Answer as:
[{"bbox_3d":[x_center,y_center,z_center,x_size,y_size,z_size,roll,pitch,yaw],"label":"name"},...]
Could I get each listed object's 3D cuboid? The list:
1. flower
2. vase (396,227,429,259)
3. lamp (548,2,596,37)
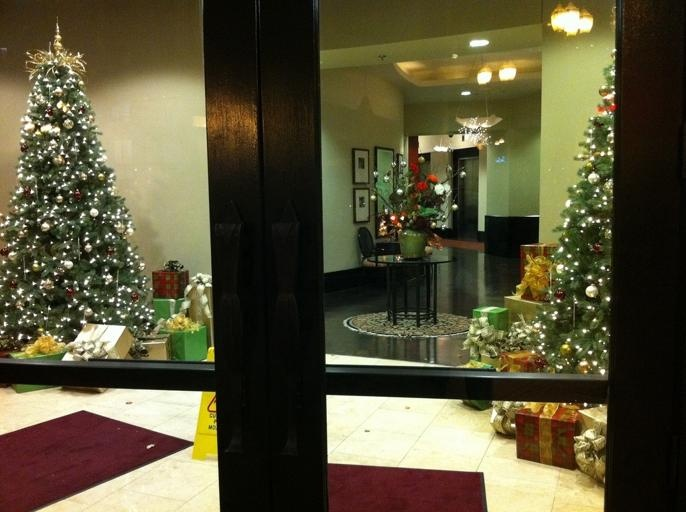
[{"bbox_3d":[0.192,-0.160,1.545,0.229,0.253,0.223,1,4,-4],"label":"flower"},{"bbox_3d":[0.188,-0.033,1.478,0.038,0.080,0.105,2,4,39],"label":"vase"},{"bbox_3d":[0.539,-0.548,1.303,0.094,0.053,0.096,0,9,-4],"label":"lamp"}]
